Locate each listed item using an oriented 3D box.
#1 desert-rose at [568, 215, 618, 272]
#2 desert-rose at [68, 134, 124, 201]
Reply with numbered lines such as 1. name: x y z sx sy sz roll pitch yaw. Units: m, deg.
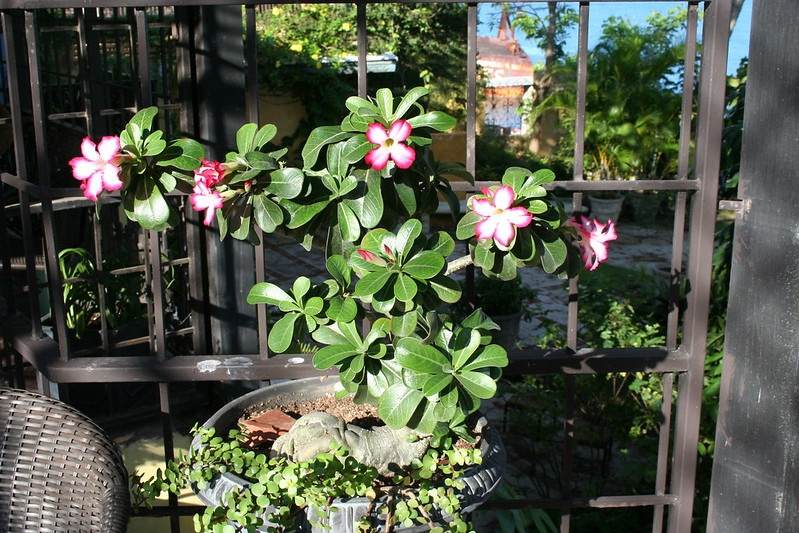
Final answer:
1. desert-rose: 0.701 -0.093 2.841 0.167 0.185 0.214 4 7 13
2. desert-rose: -1.047 -0.344 2.707 0.208 0.227 0.140 3 7 6
